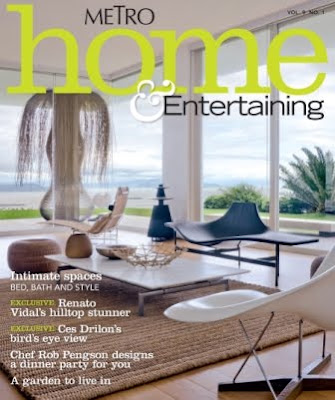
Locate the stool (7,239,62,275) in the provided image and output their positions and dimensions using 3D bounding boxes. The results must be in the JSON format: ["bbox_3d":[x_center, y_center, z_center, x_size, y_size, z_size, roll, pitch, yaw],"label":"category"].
[{"bbox_3d":[-1.456,0.629,3.743,0.682,0.332,0.636,-3,-4,9],"label":"stool"}]

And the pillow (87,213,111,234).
[{"bbox_3d":[-0.814,0.295,4.213,0.188,0.244,0.338,5,8,41],"label":"pillow"}]

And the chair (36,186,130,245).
[{"bbox_3d":[-0.887,0.199,4.736,1.539,0.829,0.697,2,1,8],"label":"chair"}]
